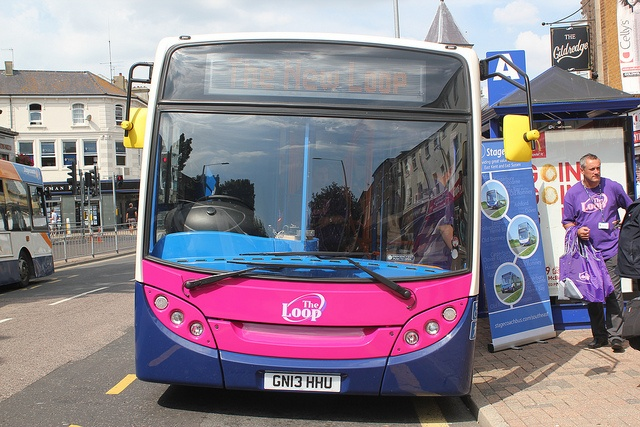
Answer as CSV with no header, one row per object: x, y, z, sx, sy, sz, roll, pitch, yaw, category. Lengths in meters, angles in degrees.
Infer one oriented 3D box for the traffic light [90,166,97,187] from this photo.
-12.820,-2.010,31.371,0.420,1.319,1.555,-2,3,-22,traffic light

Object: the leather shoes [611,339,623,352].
4.173,1.861,7.741,0.189,0.172,0.156,-1,3,13,leather shoes

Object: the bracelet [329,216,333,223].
0.121,0.079,6.129,0.048,0.054,0.013,-1,-10,-1,bracelet

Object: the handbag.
3.765,0.748,7.845,0.681,1.089,0.361,0,3,27,handbag

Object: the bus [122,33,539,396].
0.015,0.158,8.450,2.975,3.061,4.972,1,-5,2,bus
